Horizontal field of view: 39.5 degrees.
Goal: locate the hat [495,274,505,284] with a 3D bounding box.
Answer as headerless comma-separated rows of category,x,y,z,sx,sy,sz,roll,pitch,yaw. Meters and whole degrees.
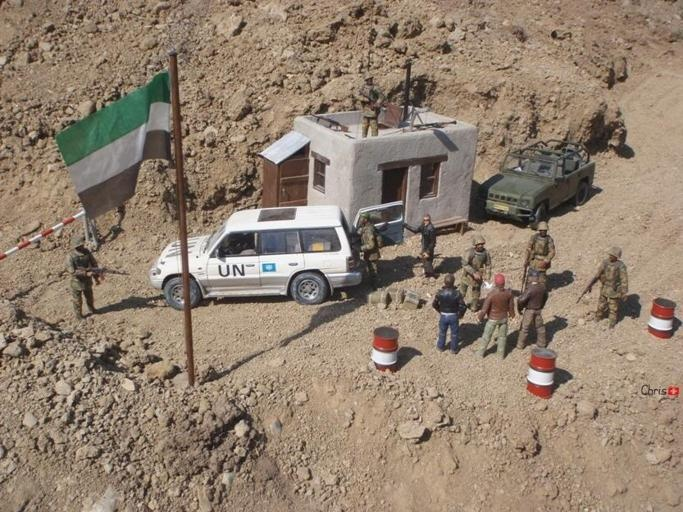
hat,4.227,0.612,24.591,0.232,0.286,0.342,-1,11,0

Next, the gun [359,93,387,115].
gun,1.059,-4.766,29.812,0.632,0.684,0.311,9,60,6

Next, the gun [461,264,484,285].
gun,3.767,0.512,26.610,0.432,0.578,0.464,-5,19,1

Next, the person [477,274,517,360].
person,4.189,1.570,24.987,0.930,2.544,0.640,2,29,5

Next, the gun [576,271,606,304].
gun,7.265,0.943,26.954,0.110,1.077,0.383,4,37,-27

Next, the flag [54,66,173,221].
flag,-6.589,-2.971,27.008,4.081,3.740,0.541,-29,35,-12

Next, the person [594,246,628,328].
person,7.512,0.876,25.913,0.885,2.393,0.717,17,35,34

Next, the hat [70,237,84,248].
hat,-7.505,-0.351,26.575,0.347,0.284,0.305,-12,52,-13

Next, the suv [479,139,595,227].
suv,6.915,-2.214,32.314,2.302,2.067,4.286,23,43,39

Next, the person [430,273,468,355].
person,2.959,1.473,25.126,0.830,2.387,0.624,5,32,14

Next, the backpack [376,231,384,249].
backpack,1.165,-0.464,27.700,0.195,0.413,0.297,-7,34,-5

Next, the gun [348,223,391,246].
gun,0.919,-0.624,27.880,0.839,0.705,0.422,1,3,5

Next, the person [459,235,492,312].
person,3.870,0.541,26.688,0.794,2.354,0.810,9,29,15
